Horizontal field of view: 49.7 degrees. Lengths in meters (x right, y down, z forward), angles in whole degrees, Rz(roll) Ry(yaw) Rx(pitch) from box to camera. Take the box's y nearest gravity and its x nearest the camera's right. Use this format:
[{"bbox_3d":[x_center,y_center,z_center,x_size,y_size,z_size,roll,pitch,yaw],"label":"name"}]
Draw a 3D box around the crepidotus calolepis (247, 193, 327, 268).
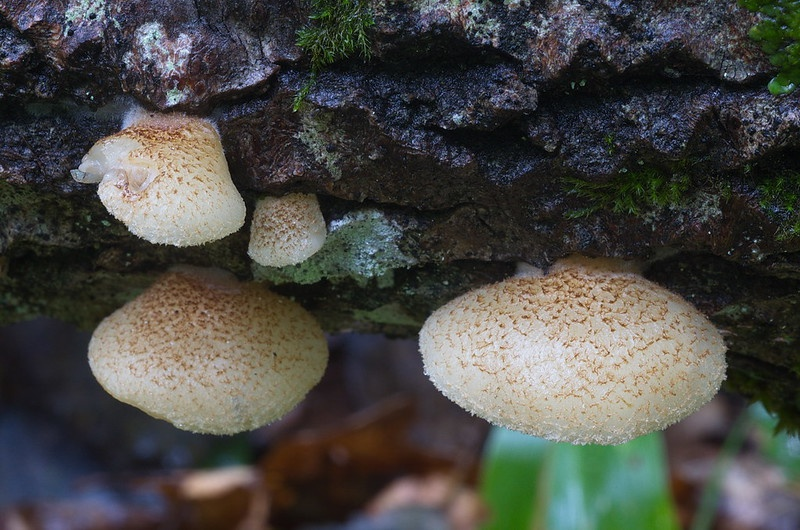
[{"bbox_3d":[-0.434,-0.071,3.415,0.291,0.423,0.257,-1,61,-4],"label":"crepidotus calolepis"}]
